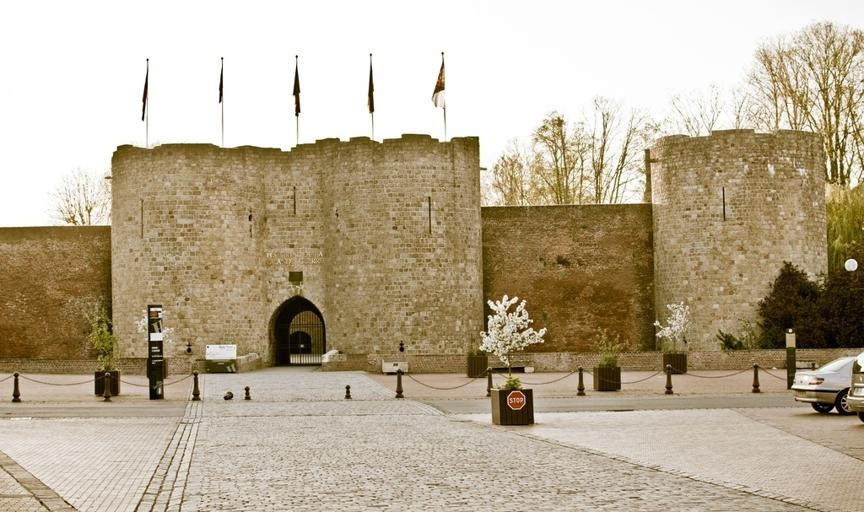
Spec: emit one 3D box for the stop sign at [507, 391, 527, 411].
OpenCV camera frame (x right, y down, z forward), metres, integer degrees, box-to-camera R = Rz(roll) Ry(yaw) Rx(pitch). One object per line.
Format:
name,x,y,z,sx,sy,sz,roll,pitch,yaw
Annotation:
stop sign,2.691,4.653,38.799,0.600,0.539,0.076,7,-11,-16

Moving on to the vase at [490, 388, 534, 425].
vase,2.618,4.916,39.333,1.234,1.128,1.218,-1,-4,-1
